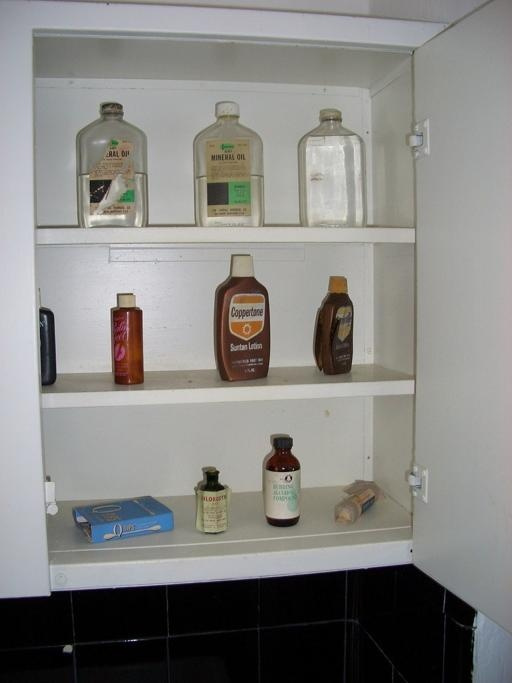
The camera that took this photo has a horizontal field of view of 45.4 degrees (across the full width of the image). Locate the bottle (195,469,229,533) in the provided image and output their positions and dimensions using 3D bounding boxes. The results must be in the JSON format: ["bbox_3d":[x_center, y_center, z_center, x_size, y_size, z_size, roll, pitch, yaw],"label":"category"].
[{"bbox_3d":[-0.075,0.273,1.014,0.066,0.150,0.088,0,-14,-6],"label":"bottle"}]
